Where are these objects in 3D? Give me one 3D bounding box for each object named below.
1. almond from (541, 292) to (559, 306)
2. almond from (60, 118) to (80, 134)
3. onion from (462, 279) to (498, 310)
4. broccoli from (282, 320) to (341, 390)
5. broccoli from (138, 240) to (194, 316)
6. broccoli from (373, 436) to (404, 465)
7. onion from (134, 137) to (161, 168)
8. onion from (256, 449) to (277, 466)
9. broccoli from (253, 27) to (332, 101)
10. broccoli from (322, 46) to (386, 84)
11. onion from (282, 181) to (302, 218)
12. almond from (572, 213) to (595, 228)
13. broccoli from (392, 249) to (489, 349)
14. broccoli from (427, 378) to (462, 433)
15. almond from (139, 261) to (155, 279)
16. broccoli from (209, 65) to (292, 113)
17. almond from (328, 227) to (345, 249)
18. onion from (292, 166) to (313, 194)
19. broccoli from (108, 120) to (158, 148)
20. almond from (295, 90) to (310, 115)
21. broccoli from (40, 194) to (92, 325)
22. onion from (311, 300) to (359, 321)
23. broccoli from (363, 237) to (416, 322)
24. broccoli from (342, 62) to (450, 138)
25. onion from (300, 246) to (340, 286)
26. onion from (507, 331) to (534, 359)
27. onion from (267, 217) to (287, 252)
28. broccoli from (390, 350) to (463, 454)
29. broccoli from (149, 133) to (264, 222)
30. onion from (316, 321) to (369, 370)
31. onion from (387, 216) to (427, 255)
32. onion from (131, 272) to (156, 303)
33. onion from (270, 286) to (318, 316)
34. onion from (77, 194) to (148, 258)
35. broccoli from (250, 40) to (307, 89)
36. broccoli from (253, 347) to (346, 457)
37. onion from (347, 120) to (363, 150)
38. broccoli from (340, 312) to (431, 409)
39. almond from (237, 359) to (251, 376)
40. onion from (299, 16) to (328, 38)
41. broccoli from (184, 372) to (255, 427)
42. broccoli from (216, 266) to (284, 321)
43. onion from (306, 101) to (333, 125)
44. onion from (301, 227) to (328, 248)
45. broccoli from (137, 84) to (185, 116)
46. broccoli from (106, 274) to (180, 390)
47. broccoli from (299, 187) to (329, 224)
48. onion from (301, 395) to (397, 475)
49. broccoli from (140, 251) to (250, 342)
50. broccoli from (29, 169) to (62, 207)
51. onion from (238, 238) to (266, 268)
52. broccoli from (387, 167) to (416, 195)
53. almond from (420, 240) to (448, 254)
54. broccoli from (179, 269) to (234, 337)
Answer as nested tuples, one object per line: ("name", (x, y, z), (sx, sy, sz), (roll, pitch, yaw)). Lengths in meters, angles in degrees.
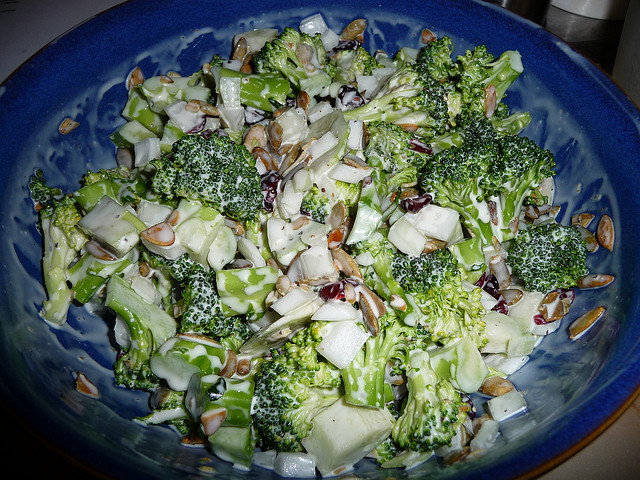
("almond", (1.117, 0.280, 2.790), (0.045, 0.019, 0.082), (26, 84, 39))
("almond", (-1.238, -0.563, 2.849), (0.015, 0.064, 0.068), (21, 90, 33))
("onion", (0.769, 0.260, 2.818), (0.119, 0.057, 0.187), (-26, 81, -45))
("broccoli", (-0.030, 0.543, 2.627), (0.325, 0.102, 0.393), (-3, 32, -17))
("broccoli", (-0.712, 0.250, 2.754), (0.117, 0.454, 0.360), (-13, 97, 2))
("broccoli", (0.296, 0.920, 2.531), (0.109, 0.035, 0.113), (-33, 69, -8))
("onion", (-0.862, -0.440, 2.874), (0.138, 0.144, 0.159), (1, 97, -10))
("onion", (-0.234, 0.954, 2.528), (0.068, 0.030, 0.075), (-3, 49, 7))
("broccoli", (-0.126, -0.979, 3.233), (0.412, 0.446, 0.191), (9, 106, -2))
("broccoli", (0.243, -1.021, 3.316), (0.373, 0.447, 0.139), (9, 100, 42))
("onion", (-0.138, -0.192, 2.704), (0.083, 0.049, 0.160), (1, 92, 2))
("almond", (1.299, -0.101, 2.846), (0.017, 0.066, 0.067), (16, 107, -29))
("broccoli", (0.580, 0.267, 2.671), (0.295, 0.158, 0.533), (-2, 83, -12))
("broccoli", (0.546, 0.747, 2.584), (0.062, 0.158, 0.194), (-14, 75, 40))
("almond", (-0.840, 0.147, 2.784), (0.059, 0.014, 0.059), (-35, 92, -3))
("broccoli", (-0.338, -0.780, 2.893), (0.336, 0.144, 0.230), (9, 83, -6))
("almond", (0.075, -0.008, 2.718), (0.052, 0.022, 0.100), (21, 74, 4))
("onion", (-0.078, -0.277, 2.729), (0.093, 0.045, 0.106), (-6, 98, -23))
("broccoli", (-0.990, -0.560, 3.018), (0.159, 0.059, 0.169), (-29, 48, -27))
("almond", (-0.089, -0.715, 3.002), (0.067, 0.027, 0.123), (6, 85, 19))
("broccoli", (-1.227, 0.089, 2.748), (0.273, 0.149, 0.543), (-4, 89, -26))
("onion", (0.070, 0.311, 2.547), (0.205, 0.055, 0.090), (2, 81, -1))
("broccoli", (0.311, 0.183, 2.681), (0.201, 0.059, 0.364), (-41, 70, 31))
("broccoli", (0.440, -0.724, 3.035), (0.399, 0.187, 0.407), (-11, 69, -2))
("onion", (-0.006, 0.124, 2.640), (0.152, 0.058, 0.176), (-22, 82, -4))
("onion", (0.945, 0.500, 2.714), (0.148, 0.074, 0.104), (-22, 81, -4))
("onion", (-0.199, -0.027, 2.710), (0.088, 0.036, 0.152), (-5, 81, -2))
("broccoli", (0.464, 0.742, 2.544), (0.287, 0.138, 0.449), (-9, 72, 12))
("broccoli", (-0.497, -0.319, 2.680), (0.490, 0.114, 0.343), (16, 81, 2))
("onion", (0.096, 0.455, 2.555), (0.181, 0.062, 0.254), (39, 70, -8))
("onion", (0.405, -0.013, 2.662), (0.135, 0.055, 0.183), (-44, 81, 4))
("onion", (-0.836, 0.230, 2.748), (0.127, 0.034, 0.087), (61, 38, -13))
("onion", (-0.115, 0.267, 2.554), (0.170, 0.045, 0.103), (-33, 65, -23))
("onion", (-0.938, -0.065, 2.677), (0.311, 0.114, 0.234), (39, 76, 16))
("broccoli", (-0.226, -0.915, 3.030), (0.218, 0.133, 0.278), (-34, 111, -5))
("broccoli", (-0.131, 0.663, 2.545), (0.340, 0.129, 0.470), (5, 87, -13))
("onion", (0.181, -0.530, 2.912), (0.078, 0.039, 0.142), (5, 88, -4))
("broccoli", (0.258, 0.546, 2.632), (0.343, 0.109, 0.444), (23, 75, 2))
("almond", (-0.344, 0.579, 2.625), (0.047, 0.040, 0.076), (5, 67, -13))
("onion", (-0.030, -1.203, 3.250), (0.114, 0.117, 0.116), (48, 122, 2))
("broccoli", (-0.436, 0.688, 2.583), (0.286, 0.237, 0.213), (9, 112, -35))
("broccoli", (-0.319, 0.255, 2.573), (0.223, 0.095, 0.260), (-5, 101, -9))
("onion", (-0.003, -0.661, 3.028), (0.138, 0.098, 0.109), (-31, 93, -9))
("onion", (-0.016, -0.010, 2.631), (0.091, 0.026, 0.102), (-14, 86, -14))
("broccoli", (-0.845, -0.768, 3.103), (0.241, 0.106, 0.261), (-8, 30, 5))
("broccoli", (-0.836, 0.464, 2.772), (0.429, 0.128, 0.450), (-29, 77, -16))
("broccoli", (-0.027, -0.161, 2.807), (0.169, 0.056, 0.149), (-40, 95, -15))
("onion", (0.118, 0.838, 2.509), (0.380, 0.191, 0.280), (-37, 44, -12))
("broccoli", (-0.530, 0.276, 2.718), (0.299, 0.150, 0.492), (-8, 97, 15))
("broccoli", (-1.314, -0.245, 2.790), (0.180, 0.195, 0.055), (12, 57, 6))
("onion", (-0.318, 0.057, 2.783), (0.083, 0.056, 0.165), (-36, 87, 33))
("broccoli", (0.420, -0.312, 2.927), (0.094, 0.044, 0.147), (38, 73, 9))
("almond", (0.556, 0.032, 2.778), (0.111, 0.030, 0.065), (-7, 57, -26))
("broccoli", (-0.485, 0.278, 2.547), (0.260, 0.081, 0.294), (-2, 89, -33))
